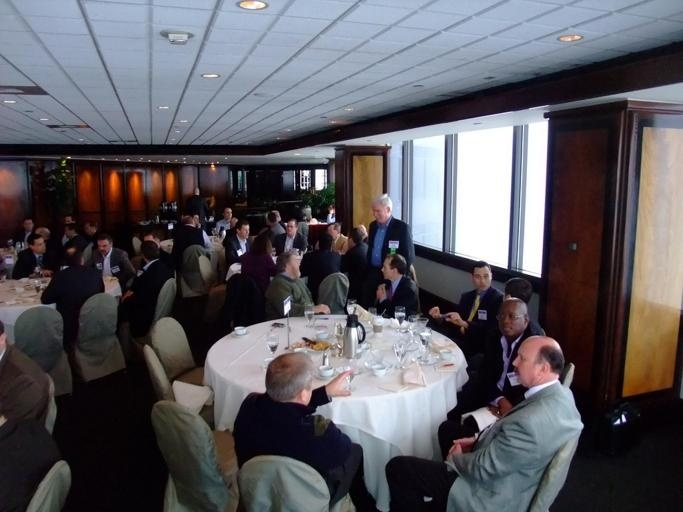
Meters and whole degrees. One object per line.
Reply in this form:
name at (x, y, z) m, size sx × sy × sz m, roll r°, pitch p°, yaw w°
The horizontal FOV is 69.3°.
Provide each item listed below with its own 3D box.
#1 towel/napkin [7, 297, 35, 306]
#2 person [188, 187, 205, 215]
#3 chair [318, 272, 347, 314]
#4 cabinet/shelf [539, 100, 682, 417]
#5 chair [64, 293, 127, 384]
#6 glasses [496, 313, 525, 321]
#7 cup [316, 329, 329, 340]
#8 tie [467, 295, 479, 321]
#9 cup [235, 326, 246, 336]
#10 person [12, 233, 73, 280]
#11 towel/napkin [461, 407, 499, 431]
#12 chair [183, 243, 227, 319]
towel/napkin at (-3.352, 0.478, 5.184) m, size 0.370 × 0.032 × 0.239 m, roll 1°, pitch 10°, yaw 15°
person at (-3.647, -1.327, 12.483) m, size 0.331 × 0.720 × 0.837 m, roll -4°, pitch 10°, yaw -11°
chair at (-0.094, 0.420, 5.441) m, size 0.331 × 0.419 × 0.236 m, roll 16°, pitch 17°, yaw -3°
cabinet/shelf at (2.122, 0.022, 4.207) m, size 0.815 × 2.546 × 0.587 m, roll 4°, pitch 12°, yaw 31°
chair at (-2.603, 0.787, 5.183) m, size 0.541 × 0.808 × 0.524 m, roll 6°, pitch 9°, yaw 35°
glasses at (1.238, 0.440, 3.598) m, size 0.190 × 0.059 × 0.077 m, roll 2°, pitch 10°, yaw 19°
cup at (-0.156, 0.631, 3.972) m, size 0.069 × 0.064 × 0.073 m, roll -6°, pitch -12°, yaw -1°
tie at (1.262, 0.506, 4.739) m, size 0.025 × 0.266 × 0.039 m, roll 34°, pitch -10°, yaw -34°
cup at (-0.841, 0.625, 4.117) m, size 0.075 × 0.047 × 0.067 m, roll -2°, pitch 6°, yaw 2°
person at (-4.131, 0.022, 6.812) m, size 0.524 × 0.956 × 0.467 m, roll 8°, pitch 17°, yaw 23°
towel/napkin at (0.927, 1.075, 3.293) m, size 0.190 × 0.100 × 0.154 m, roll -33°, pitch 30°, yaw -2°
chair at (-2.456, 0.196, 8.521) m, size 0.719 × 0.911 × 0.763 m, roll -20°, pitch 14°, yaw -17°
